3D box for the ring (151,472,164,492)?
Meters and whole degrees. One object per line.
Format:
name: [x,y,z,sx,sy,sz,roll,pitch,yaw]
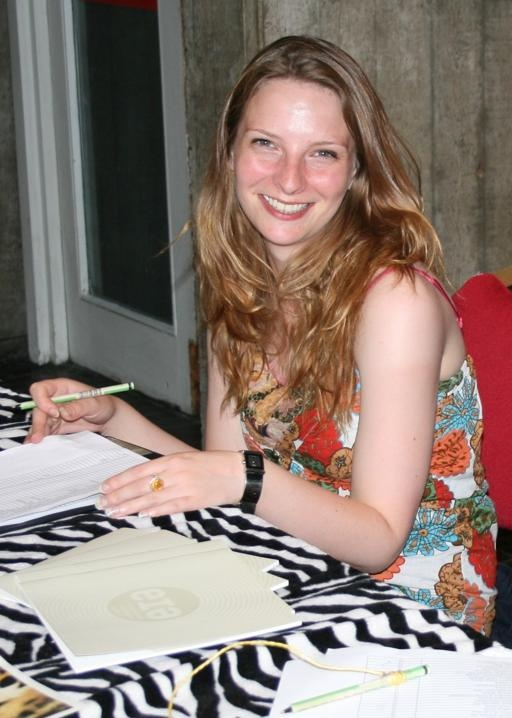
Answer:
ring: [-0.111,0.142,0.830,0.016,0.013,0.004,5,-3,-41]
